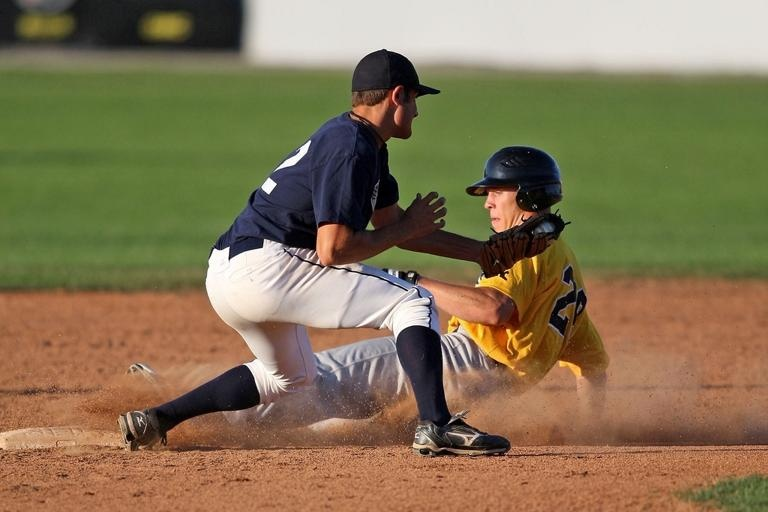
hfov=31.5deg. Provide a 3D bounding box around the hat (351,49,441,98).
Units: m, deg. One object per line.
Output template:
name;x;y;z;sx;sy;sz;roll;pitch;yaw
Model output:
hat;0.019;-1.878;13.911;0.656;0.349;0.424;-3;8;-8
